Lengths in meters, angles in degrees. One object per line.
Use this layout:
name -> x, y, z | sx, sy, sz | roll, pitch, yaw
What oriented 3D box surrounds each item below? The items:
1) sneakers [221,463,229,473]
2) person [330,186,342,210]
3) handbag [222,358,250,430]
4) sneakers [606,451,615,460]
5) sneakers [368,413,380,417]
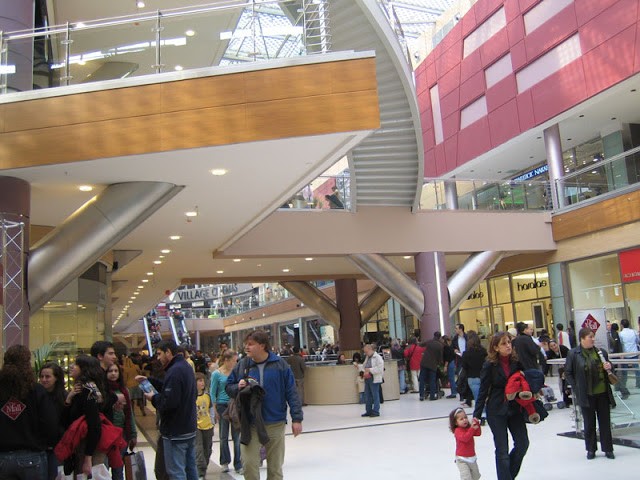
sneakers -> -1.535, 3.727, 8.330 | 0.133, 0.114, 0.260 | 0, -10, -10
person -> 0.577, -1.399, 17.162 | 0.429, 0.737, 0.238 | 8, -14, -44
handbag -> -0.918, 1.692, 5.672 | 0.269, 0.746, 0.319 | 1, -10, -16
sneakers -> 4.248, 3.172, 7.484 | 0.060, 0.066, 0.170 | -3, -10, -1
sneakers -> 1.403, 4.508, 13.070 | 0.232, 0.089, 0.077 | 4, -14, -10
